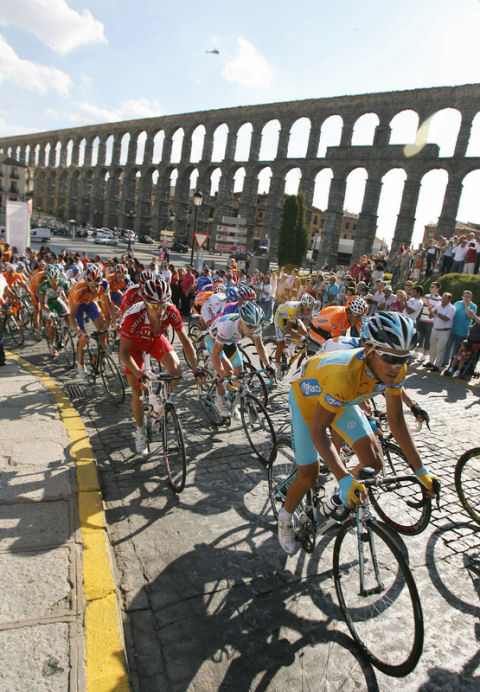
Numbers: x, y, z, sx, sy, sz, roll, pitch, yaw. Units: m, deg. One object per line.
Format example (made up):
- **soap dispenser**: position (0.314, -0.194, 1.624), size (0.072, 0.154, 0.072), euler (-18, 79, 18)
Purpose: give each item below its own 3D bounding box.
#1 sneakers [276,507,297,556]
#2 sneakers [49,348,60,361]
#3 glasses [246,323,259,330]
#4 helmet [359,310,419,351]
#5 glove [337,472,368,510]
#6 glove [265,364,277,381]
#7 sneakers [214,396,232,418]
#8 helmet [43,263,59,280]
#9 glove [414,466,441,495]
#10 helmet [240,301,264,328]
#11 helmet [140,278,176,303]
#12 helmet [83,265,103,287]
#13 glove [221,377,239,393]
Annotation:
- **sneakers**: position (0.326, 1.311, 3.219), size (0.123, 0.355, 0.154), euler (-5, -7, -8)
- **sneakers**: position (-3.652, 0.160, 8.962), size (0.174, 0.217, 0.233), euler (1, -18, -8)
- **glasses**: position (0.139, -0.223, 5.237), size (0.078, 0.035, 0.082), euler (3, 28, -17)
- **helmet**: position (0.795, -0.074, 2.480), size (0.187, 0.143, 0.275), euler (0, 21, -7)
- **glove**: position (0.602, 0.814, 2.454), size (0.152, 0.218, 0.203), euler (10, 9, 18)
- **glove**: position (0.346, 0.320, 5.522), size (0.063, 0.177, 0.130), euler (-33, -28, 13)
- **sneakers**: position (-0.219, 0.782, 5.777), size (0.123, 0.155, 0.362), euler (-13, 51, -32)
- **helmet**: position (-3.683, -1.442, 8.868), size (0.303, 0.238, 0.401), euler (-1, 9, -7)
- **glove**: position (1.088, 0.805, 2.649), size (0.143, 0.149, 0.144), euler (11, 10, 23)
- **helmet**: position (0.116, -0.363, 5.315), size (0.217, 0.319, 0.123), euler (2, -26, -22)
- **helmet**: position (-0.826, -0.569, 4.370), size (0.188, 0.143, 0.296), euler (-5, 44, -33)
- **helmet**: position (-2.360, -1.123, 7.309), size (0.277, 0.406, 0.153), euler (-1, 2, -18)
- **glove**: position (-0.113, 0.475, 5.347), size (0.080, 0.173, 0.172), euler (-1, 23, -33)
